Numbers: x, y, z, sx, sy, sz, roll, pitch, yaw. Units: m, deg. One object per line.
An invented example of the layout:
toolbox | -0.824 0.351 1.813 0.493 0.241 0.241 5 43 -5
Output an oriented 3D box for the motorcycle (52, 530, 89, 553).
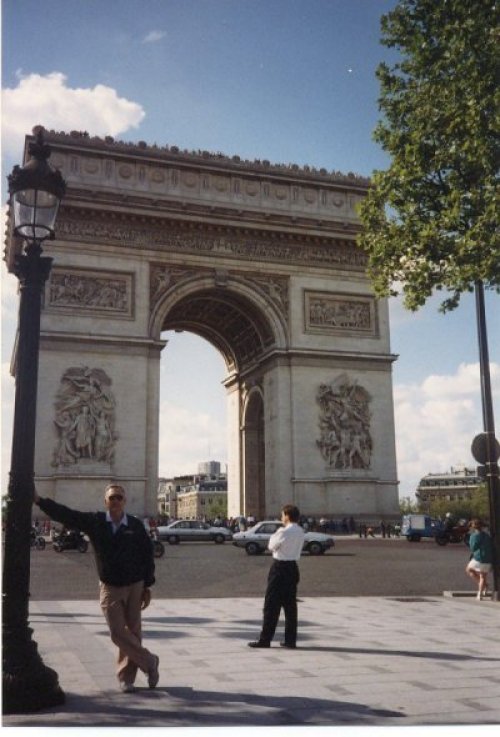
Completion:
motorcycle | -5.330 5.177 25.285 1.113 0.729 0.625 -6 -10 23

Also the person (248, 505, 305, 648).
person | 0.300 2.118 8.735 0.512 1.398 0.781 -1 -9 3

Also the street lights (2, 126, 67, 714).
street lights | -1.621 0.174 6.349 0.467 4.450 0.870 2 -9 -17

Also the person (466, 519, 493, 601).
person | 3.740 3.088 13.793 0.379 1.231 0.792 -2 -9 12

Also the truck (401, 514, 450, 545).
truck | 7.223 6.745 35.405 1.417 1.000 1.109 -2 -6 2

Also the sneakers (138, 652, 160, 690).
sneakers | -0.763 2.298 6.475 0.106 0.350 0.138 1 10 38
